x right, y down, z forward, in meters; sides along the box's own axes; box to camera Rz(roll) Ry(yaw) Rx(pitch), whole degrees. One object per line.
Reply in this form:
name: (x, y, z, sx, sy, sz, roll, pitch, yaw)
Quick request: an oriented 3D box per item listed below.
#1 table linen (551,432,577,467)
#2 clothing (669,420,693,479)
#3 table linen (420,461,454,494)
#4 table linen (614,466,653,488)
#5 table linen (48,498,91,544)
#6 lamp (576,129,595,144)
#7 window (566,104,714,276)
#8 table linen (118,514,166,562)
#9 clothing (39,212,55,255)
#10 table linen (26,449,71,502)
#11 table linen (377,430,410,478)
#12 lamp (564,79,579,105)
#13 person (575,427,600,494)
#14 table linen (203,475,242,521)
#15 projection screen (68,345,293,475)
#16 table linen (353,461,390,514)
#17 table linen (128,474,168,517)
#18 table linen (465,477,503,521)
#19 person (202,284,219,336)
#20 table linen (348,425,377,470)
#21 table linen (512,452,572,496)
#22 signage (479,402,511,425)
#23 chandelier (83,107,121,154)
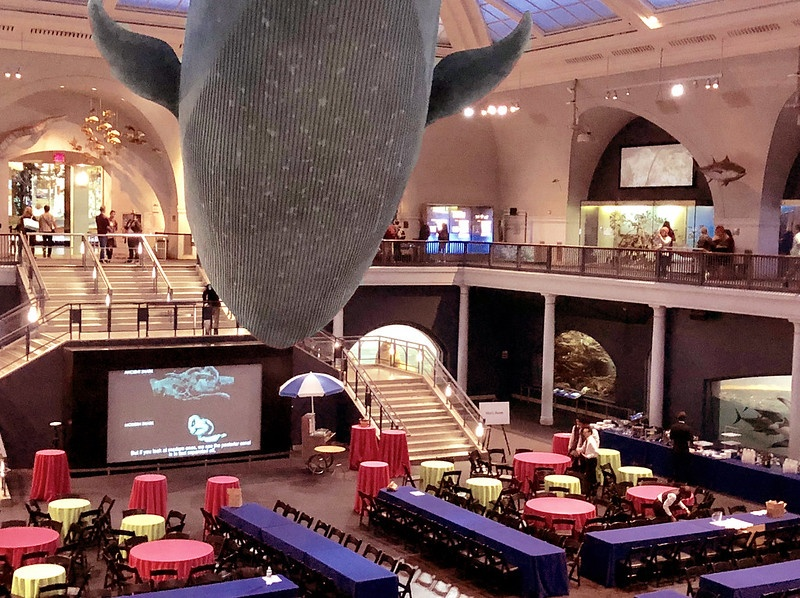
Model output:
table linen: (4.887, 4.554, 19.870, 0.725, 0.927, 0.741, 1, -3, -6)
clothing: (7.935, 4.239, 18.737, 0.625, 1.974, 0.540, 4, 4, 37)
table linen: (0.931, 4.710, 17.534, 0.707, 0.794, 0.761, 1, 0, 1)
table linen: (6.199, 4.734, 17.699, 0.696, 0.384, 0.739, 0, 1, -4)
table linen: (-6.975, 4.656, 14.018, 0.734, 0.828, 0.758, 2, -1, -23)
lamp: (8.174, -7.275, 29.514, 0.629, 0.436, 1.352, 0, 4, 25)
window: (11.114, -4.740, 29.221, 5.204, 6.498, 0.191, 2, -38, 19)
table linen: (-5.030, 4.734, 13.128, 0.771, 0.645, 0.804, 1, -4, -2)
clothing: (-13.611, -2.707, 25.638, 0.574, 1.886, 0.575, 2, 15, -22)
table linen: (-8.882, 4.549, 16.867, 0.753, 1.032, 0.808, -8, -10, 27)
table linen: (-0.177, 4.377, 19.931, 0.794, 1.082, 0.871, -1, 22, -17)
lamp: (7.166, -8.667, 27.560, 0.458, 0.804, 0.797, 0, 3, 10)
person: (4.913, 4.266, 17.433, 0.573, 1.586, 1.178, 0, 3, 9)
table linen: (-4.273, 4.732, 15.816, 0.713, 0.851, 0.751, 7, 3, 17)
projection screen: (-6.653, 3.234, 19.233, 4.827, 2.937, 0.687, -1, 2, -17)
table linen: (-0.827, 4.797, 17.049, 1.033, 1.382, 1.001, -1, 3, -41)
table linen: (-5.733, 4.546, 15.232, 0.998, 1.084, 0.917, 2, -1, -26)
table linen: (2.031, 4.906, 16.131, 0.683, 0.775, 0.721, 1, 0, 31)
person: (-5.846, 0.281, 20.553, 0.588, 1.832, 0.521, 6, -21, -28)
table linen: (-1.084, 4.551, 20.285, 1.073, 1.457, 1.077, 1, -2, -6)
table linen: (3.702, 4.521, 17.748, 1.114, 0.689, 1.174, 0, 0, -6)
signage: (2.779, 3.460, 19.751, 1.213, 1.011, 0.186, 0, -6, -3)
chandelier: (-12.609, -7.095, 27.902, 0.818, 2.035, 3.222, -12, 32, -14)
